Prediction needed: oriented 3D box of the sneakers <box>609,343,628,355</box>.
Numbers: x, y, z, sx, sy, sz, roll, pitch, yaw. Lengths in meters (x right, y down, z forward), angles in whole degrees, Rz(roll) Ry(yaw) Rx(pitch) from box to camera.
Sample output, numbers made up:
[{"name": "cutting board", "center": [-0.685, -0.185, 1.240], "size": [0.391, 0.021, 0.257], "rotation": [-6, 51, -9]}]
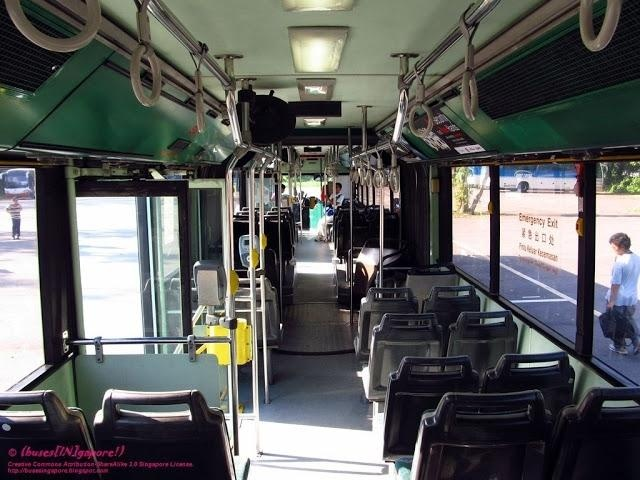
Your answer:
[{"name": "sneakers", "center": [2.503, 0.904, 4.055], "size": [0.049, 0.087, 0.124], "rotation": [1, 11, -18]}]

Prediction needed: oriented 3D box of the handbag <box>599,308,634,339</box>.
[{"name": "handbag", "center": [2.570, 0.715, 4.160], "size": [0.171, 0.324, 0.248], "rotation": [0, 2, -43]}]
